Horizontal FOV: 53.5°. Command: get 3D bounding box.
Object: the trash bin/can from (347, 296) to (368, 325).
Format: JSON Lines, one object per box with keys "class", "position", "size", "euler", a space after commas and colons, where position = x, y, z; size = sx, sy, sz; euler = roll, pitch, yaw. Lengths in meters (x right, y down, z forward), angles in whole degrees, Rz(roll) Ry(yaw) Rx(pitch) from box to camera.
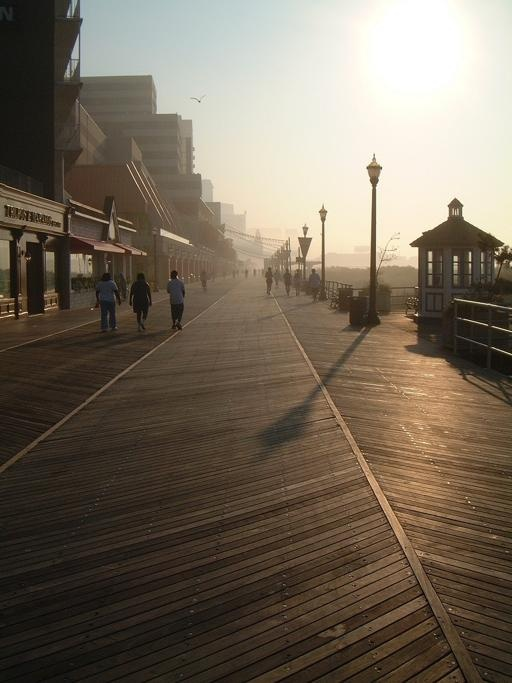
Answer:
{"class": "trash bin/can", "position": [4.123, -1.167, 20.205], "size": [0.852, 1.418, 0.892], "euler": [0, 0, -8]}
